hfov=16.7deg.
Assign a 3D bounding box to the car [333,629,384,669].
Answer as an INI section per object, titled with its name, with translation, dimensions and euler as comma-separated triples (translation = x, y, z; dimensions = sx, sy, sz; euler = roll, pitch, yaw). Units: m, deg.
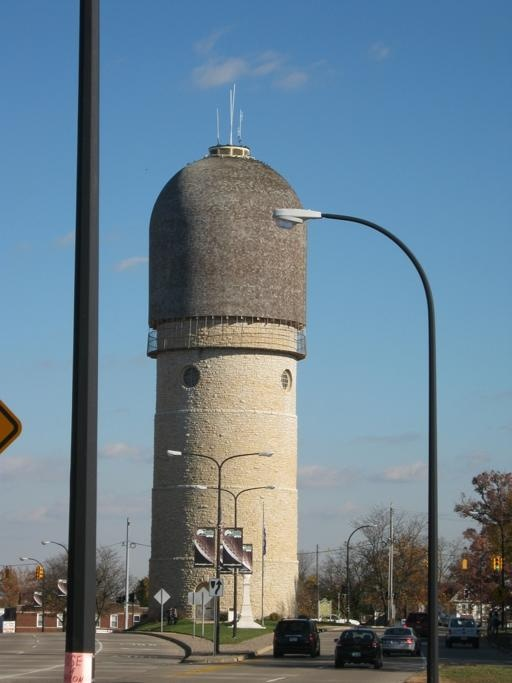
[car]
translation = 3.103, 9.582, 54.797
dimensions = 1.476, 1.466, 3.772
euler = 0, -6, 2
